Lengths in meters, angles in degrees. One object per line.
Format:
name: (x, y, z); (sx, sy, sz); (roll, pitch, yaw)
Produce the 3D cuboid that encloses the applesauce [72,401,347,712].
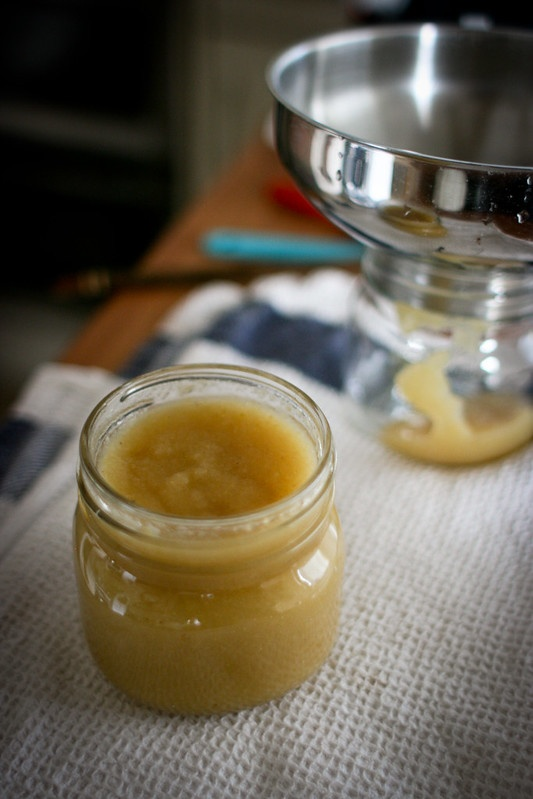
applesauce: (-0.019, 0.062, 0.334); (0.128, 0.094, 0.097); (0, 17, -2)
